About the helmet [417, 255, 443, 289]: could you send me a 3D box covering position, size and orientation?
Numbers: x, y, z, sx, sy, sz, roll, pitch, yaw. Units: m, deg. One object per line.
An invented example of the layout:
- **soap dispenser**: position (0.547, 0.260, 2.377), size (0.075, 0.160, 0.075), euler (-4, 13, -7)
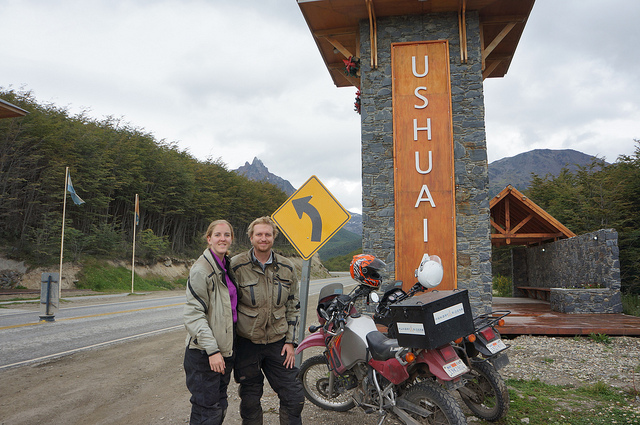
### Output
- **helmet**: position (1.888, 0.974, 7.031), size (0.455, 0.548, 0.481), euler (10, 19, -1)

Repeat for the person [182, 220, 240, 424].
- **person**: position (-1.778, 1.752, 6.586), size (0.882, 3.309, 0.525), euler (3, -9, -15)

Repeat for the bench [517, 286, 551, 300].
- **bench**: position (11.296, 4.223, 21.125), size (0.807, 0.627, 3.724), euler (-2, -10, 16)
